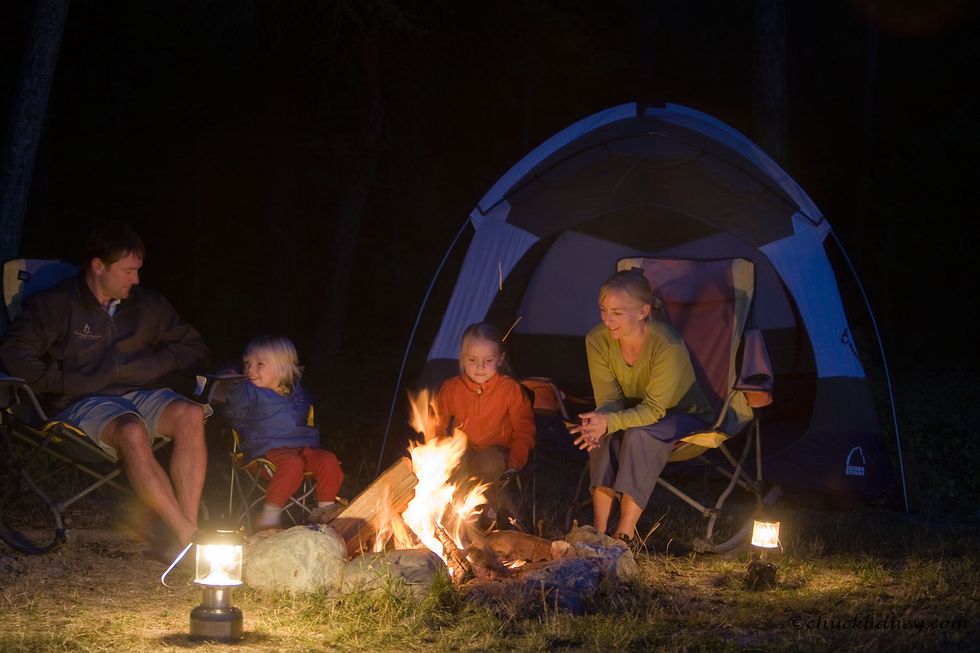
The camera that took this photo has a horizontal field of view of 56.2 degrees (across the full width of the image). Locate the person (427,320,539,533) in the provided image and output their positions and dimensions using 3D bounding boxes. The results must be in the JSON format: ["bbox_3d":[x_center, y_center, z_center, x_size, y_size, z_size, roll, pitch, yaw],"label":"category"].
[{"bbox_3d":[-0.056,0.713,6.586,0.734,1.393,0.629,2,11,3],"label":"person"}]

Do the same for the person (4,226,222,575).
[{"bbox_3d":[-2.533,0.357,6.187,1.415,2.069,1.052,3,11,8],"label":"person"}]

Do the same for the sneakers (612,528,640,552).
[{"bbox_3d":[0.943,1.475,6.360,0.105,0.144,0.352,-1,-8,16],"label":"sneakers"}]

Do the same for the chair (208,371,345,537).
[{"bbox_3d":[-1.578,0.943,6.570,0.887,1.170,0.658,3,-20,-39],"label":"chair"}]

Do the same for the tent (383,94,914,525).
[{"bbox_3d":[1.868,0.278,8.796,3.668,2.610,3.760,-2,-12,14],"label":"tent"}]

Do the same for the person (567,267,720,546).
[{"bbox_3d":[1.073,0.529,6.402,0.905,1.786,0.886,4,11,14],"label":"person"}]

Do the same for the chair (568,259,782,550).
[{"bbox_3d":[1.231,0.466,6.784,1.593,2.117,1.449,5,-1,36],"label":"chair"}]

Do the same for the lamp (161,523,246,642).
[{"bbox_3d":[-1.551,1.429,5.167,0.311,0.619,0.252,-2,11,-18],"label":"lamp"}]
